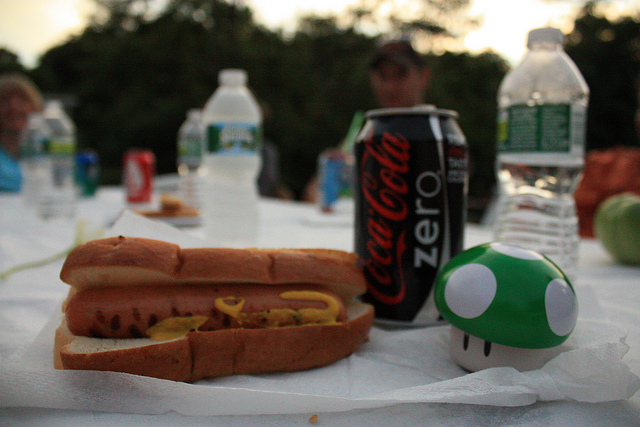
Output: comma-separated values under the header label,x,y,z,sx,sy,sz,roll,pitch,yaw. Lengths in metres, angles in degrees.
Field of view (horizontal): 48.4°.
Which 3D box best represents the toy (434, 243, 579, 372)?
label,x,y,z,sx,sy,sz,roll,pitch,yaw
toy,1.170,0.551,4.740,0.843,0.653,0.821,-6,11,-25
